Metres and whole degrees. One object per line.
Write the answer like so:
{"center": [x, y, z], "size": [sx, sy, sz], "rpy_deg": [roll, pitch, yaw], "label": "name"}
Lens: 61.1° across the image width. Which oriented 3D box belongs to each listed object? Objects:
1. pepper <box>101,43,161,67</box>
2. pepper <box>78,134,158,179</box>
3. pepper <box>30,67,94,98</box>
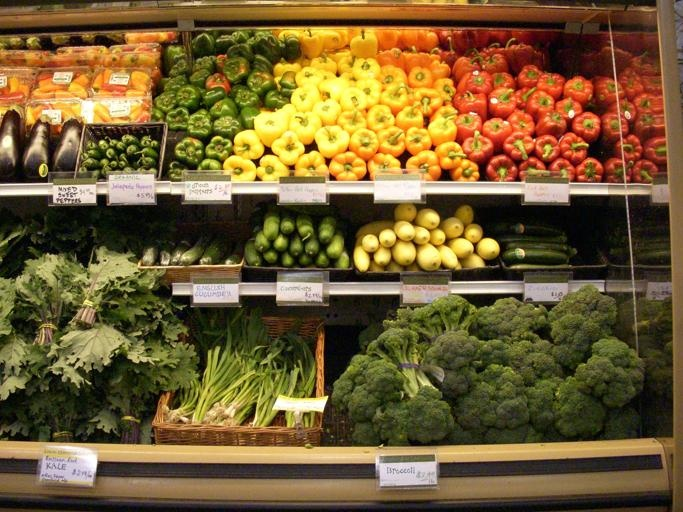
{"center": [-1.349, -1.293, 3.690], "size": [0.271, 0.183, 0.088], "rpy_deg": [0, -42, 0], "label": "pepper"}
{"center": [-1.236, -0.568, 3.222], "size": [0.334, 0.269, 0.111], "rpy_deg": [1, -14, -6], "label": "pepper"}
{"center": [-1.694, -1.052, 3.530], "size": [0.307, 0.216, 0.082], "rpy_deg": [2, -30, -4], "label": "pepper"}
